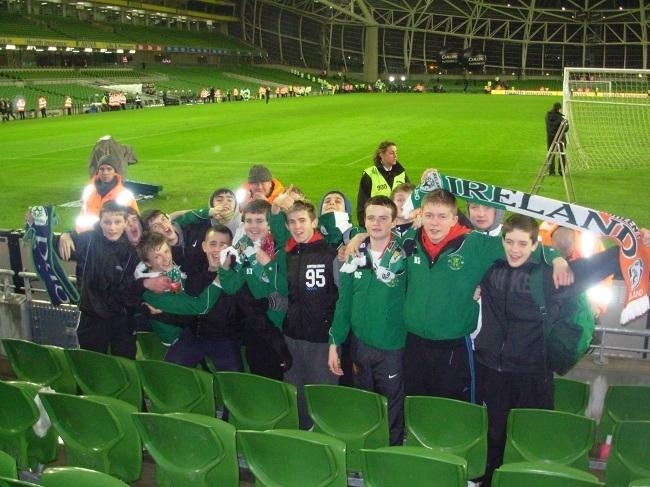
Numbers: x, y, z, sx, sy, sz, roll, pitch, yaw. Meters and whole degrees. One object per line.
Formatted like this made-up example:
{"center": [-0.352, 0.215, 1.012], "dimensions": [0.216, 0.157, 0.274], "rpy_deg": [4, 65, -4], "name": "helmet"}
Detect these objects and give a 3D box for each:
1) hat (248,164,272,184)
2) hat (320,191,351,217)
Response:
{"center": [-0.743, -0.778, 7.162], "dimensions": [0.215, 0.158, 0.233], "rpy_deg": [-1, 16, 9], "name": "hat"}
{"center": [0.105, -0.438, 6.500], "dimensions": [0.216, 0.329, 0.307], "rpy_deg": [-3, 14, 11], "name": "hat"}
